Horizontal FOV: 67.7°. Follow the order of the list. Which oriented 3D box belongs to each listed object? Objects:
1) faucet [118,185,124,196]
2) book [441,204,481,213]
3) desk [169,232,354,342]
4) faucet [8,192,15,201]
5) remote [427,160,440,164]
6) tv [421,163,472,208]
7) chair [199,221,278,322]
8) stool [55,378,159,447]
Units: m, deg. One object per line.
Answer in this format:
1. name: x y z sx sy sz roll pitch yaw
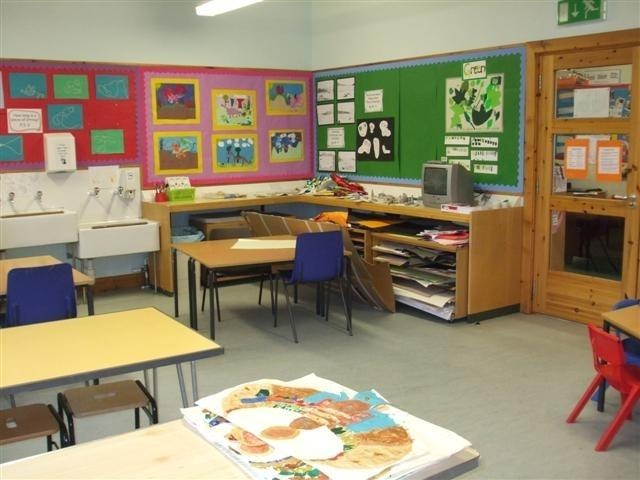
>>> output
1. faucet: -2.649 -0.664 6.376 0.105 0.141 0.108 2 3 -41
2. book: 1.517 -0.341 5.210 0.467 0.079 0.252 10 15 42
3. desk: -0.608 0.483 5.080 1.654 0.741 1.206 -2 9 -39
4. faucet: -3.700 -0.520 5.734 0.053 0.099 0.072 -3 12 -8
5. remote: 1.368 -0.940 5.692 0.151 0.031 0.143 1 5 10
6. tv: 1.579 -0.610 5.615 0.670 0.486 0.608 6 6 -9
7. chair: -0.868 0.328 5.753 0.844 1.053 0.768 -8 -3 5
8. stool: -1.111 0.965 2.462 0.442 0.357 0.328 -1 11 -42
